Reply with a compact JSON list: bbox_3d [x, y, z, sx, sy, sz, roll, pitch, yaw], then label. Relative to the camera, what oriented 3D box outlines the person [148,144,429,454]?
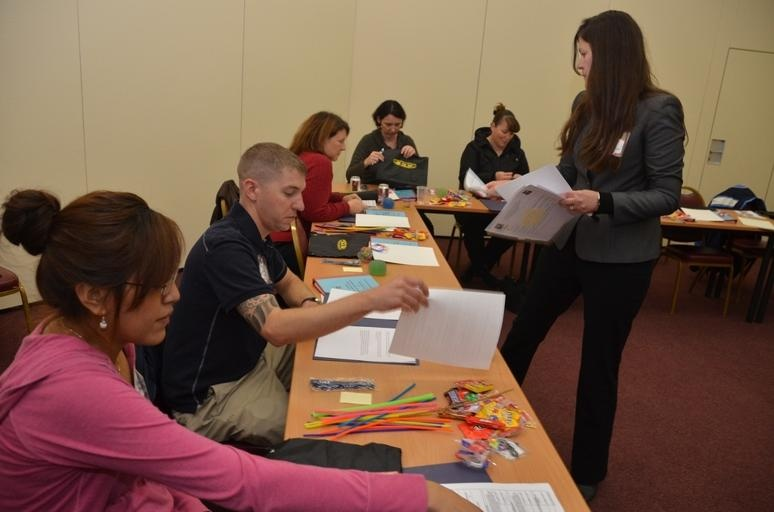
[{"bbox_3d":[-0.524,-0.062,2.731,1.245,1.882,0.924,0,26,-11],"label":"person"}]

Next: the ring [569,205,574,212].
[{"bbox_3d":[0.829,-0.211,2.388,0.017,0.014,0.005,4,29,5],"label":"ring"}]

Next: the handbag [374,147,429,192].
[{"bbox_3d":[0.138,-0.750,4.626,0.349,0.394,0.113,4,-5,-7],"label":"handbag"}]

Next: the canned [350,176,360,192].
[{"bbox_3d":[-0.262,-0.599,4.475,0.102,0.138,0.117,0,8,-3],"label":"canned"}]

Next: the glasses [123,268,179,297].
[{"bbox_3d":[-0.684,0.086,1.532,0.087,0.031,0.090,0,16,13],"label":"glasses"}]

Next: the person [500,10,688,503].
[{"bbox_3d":[0.984,0.076,2.585,0.671,2.356,0.428,10,17,31],"label":"person"}]
